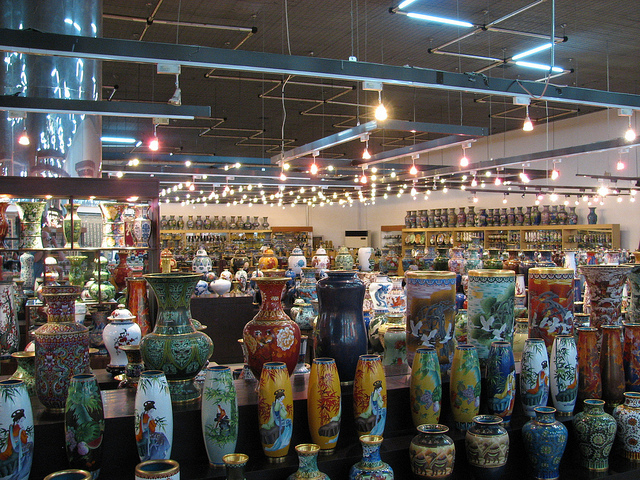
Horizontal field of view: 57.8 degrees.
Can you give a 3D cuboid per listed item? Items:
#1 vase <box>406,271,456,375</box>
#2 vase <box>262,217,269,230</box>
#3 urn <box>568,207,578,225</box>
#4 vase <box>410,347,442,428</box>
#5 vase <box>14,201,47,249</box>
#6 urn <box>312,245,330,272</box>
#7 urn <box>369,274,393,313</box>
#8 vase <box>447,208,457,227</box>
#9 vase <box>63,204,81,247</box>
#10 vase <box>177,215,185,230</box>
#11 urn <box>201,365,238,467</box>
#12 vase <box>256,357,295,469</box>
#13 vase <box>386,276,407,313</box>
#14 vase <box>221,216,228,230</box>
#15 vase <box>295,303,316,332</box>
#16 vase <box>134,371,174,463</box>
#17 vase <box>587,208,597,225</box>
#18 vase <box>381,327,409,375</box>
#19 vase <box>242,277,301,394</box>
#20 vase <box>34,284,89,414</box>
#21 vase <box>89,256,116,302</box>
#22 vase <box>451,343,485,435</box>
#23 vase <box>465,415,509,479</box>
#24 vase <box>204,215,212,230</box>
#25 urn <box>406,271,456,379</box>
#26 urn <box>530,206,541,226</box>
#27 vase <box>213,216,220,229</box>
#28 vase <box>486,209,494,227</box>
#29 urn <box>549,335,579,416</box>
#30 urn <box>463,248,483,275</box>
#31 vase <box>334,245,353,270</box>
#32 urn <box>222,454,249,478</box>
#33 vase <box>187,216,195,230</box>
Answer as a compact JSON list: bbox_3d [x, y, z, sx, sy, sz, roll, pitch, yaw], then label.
[{"bbox_3d":[0.637,0.466,3.367,0.306,0.538,0.310,1,-3,16],"label":"vase"},{"bbox_3d":[-2.130,-0.643,22.432,0.214,0.483,0.617,-2,-2,-6],"label":"vase"},{"bbox_3d":[5.846,-0.555,13.363,0.194,0.296,0.305,-3,-2,23],"label":"urn"},{"bbox_3d":[0.548,0.772,3.014,0.146,0.395,0.124,-1,-2,-21],"label":"vase"},{"bbox_3d":[-2.583,-0.077,5.278,0.273,0.394,0.266,-5,-15,2],"label":"vase"},{"bbox_3d":[-0.044,0.202,6.474,0.209,0.320,0.206,1,-9,-3],"label":"urn"},{"bbox_3d":[0.481,0.425,4.459,0.197,0.313,0.201,-2,-4,25],"label":"urn"},{"bbox_3d":[3.842,-0.633,16.738,0.261,0.535,0.308,-2,-2,12],"label":"vase"},{"bbox_3d":[-2.468,-0.149,5.741,0.163,0.453,0.456,-1,-2,-23],"label":"vase"},{"bbox_3d":[-4.640,-0.584,19.186,0.181,0.474,0.906,-2,-2,-15],"label":"vase"},{"bbox_3d":[-0.467,0.837,2.756,0.169,0.456,0.154,-3,-2,23],"label":"urn"},{"bbox_3d":[-0.211,0.835,2.797,0.182,0.476,0.175,-2,-2,-8],"label":"vase"},{"bbox_3d":[0.544,0.391,4.081,0.191,0.269,0.179,1,0,-9],"label":"vase"},{"bbox_3d":[-3.506,-0.617,21.170,0.234,0.484,1.036,-2,-2,-10],"label":"vase"},{"bbox_3d":[-0.114,0.581,4.391,0.163,0.199,0.199,2,-9,-1],"label":"vase"},{"bbox_3d":[-0.765,0.811,2.674,0.151,0.388,0.134,-3,-2,18],"label":"vase"},{"bbox_3d":[6.282,-0.552,13.317,0.184,0.290,0.262,-3,-2,21],"label":"vase"},{"bbox_3d":[0.424,0.662,3.495,0.187,0.264,0.195,6,-13,-6],"label":"vase"},{"bbox_3d":[-0.262,0.521,3.200,0.342,0.625,0.342,-1,1,23],"label":"vase"},{"bbox_3d":[-1.318,0.548,2.952,0.251,0.607,0.459,-1,-2,-27],"label":"vase"},{"bbox_3d":[-2.241,0.394,5.919,0.238,0.464,0.434,-1,-2,-22],"label":"vase"},{"bbox_3d":[0.801,0.789,3.120,0.171,0.450,0.477,-2,-2,15],"label":"vase"},{"bbox_3d":[0.818,1.045,2.953,0.252,0.342,0.270,1,-9,1],"label":"vase"},{"bbox_3d":[-3.976,-0.610,20.492,0.264,0.482,0.889,-2,-2,-10],"label":"vase"},{"bbox_3d":[0.644,0.466,3.370,0.318,0.546,0.305,0,0,-36],"label":"urn"},{"bbox_3d":[5.215,-0.589,13.948,0.344,0.552,0.350,1,-6,18],"label":"urn"},{"bbox_3d":[-3.722,-0.627,20.702,0.227,0.498,0.723,-2,-2,-10],"label":"vase"},{"bbox_3d":[4.545,-0.581,15.416,0.214,0.488,0.470,-2,-2,16],"label":"vase"},{"bbox_3d":[1.363,0.755,3.206,0.194,0.326,0.102,-2,-2,1],"label":"urn"},{"bbox_3d":[1.271,0.178,4.768,0.196,0.268,0.187,1,-7,-2],"label":"urn"},{"bbox_3d":[0.252,0.174,5.898,0.180,0.248,0.181,2,-5,-10],"label":"vase"},{"bbox_3d":[-0.374,0.981,2.570,0.104,0.094,0.103,-2,4,-29],"label":"urn"},{"bbox_3d":[-4.464,-0.581,19.961,0.233,0.449,0.417,-2,-2,-13],"label":"vase"}]
